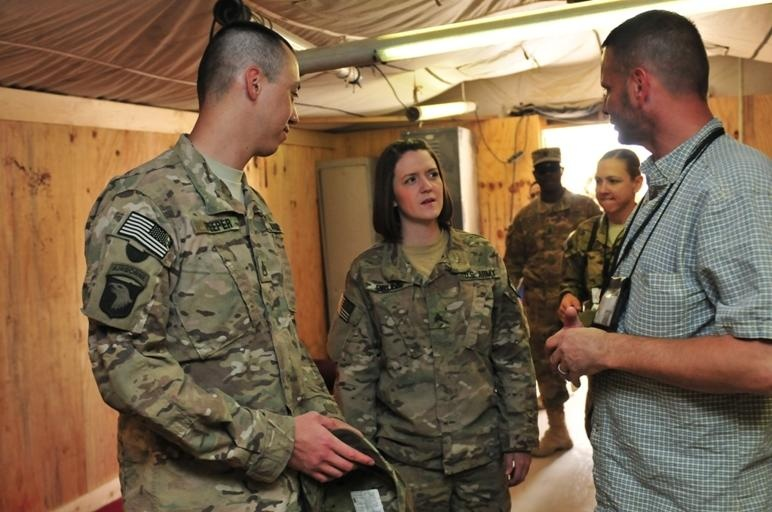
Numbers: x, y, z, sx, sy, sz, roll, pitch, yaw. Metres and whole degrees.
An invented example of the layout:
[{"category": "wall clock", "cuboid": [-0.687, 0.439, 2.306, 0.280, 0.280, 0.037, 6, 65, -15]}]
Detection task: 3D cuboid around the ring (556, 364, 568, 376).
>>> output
[{"category": "ring", "cuboid": [0.685, 0.444, 2.582, 0.047, 0.031, 0.045, -2, 8, 0]}]
